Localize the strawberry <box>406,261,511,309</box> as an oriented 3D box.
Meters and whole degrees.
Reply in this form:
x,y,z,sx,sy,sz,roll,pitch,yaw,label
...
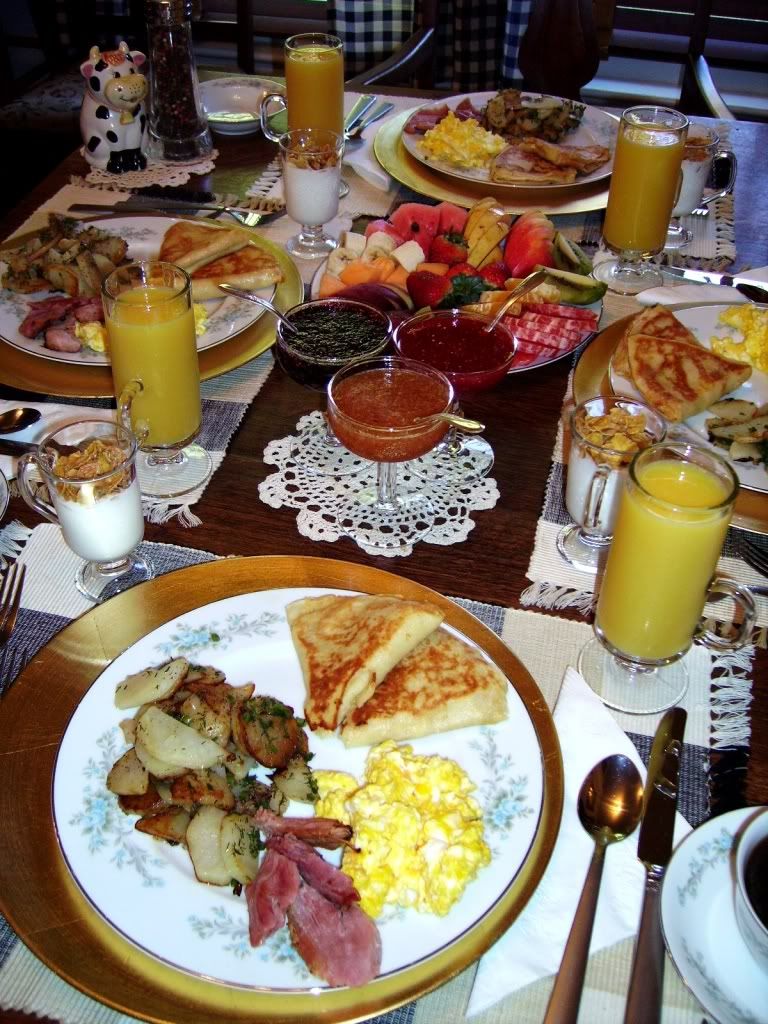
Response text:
x,y,z,sx,sy,sz,roll,pitch,yaw,label
0.150,-0.482,1.793,0.230,0.095,0.116,-3,37,-4,strawberry

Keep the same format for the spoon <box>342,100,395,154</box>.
x,y,z,sx,sy,sz,roll,pitch,yaw,label
-0.058,-1.285,2.668,0.106,0.049,0.328,23,47,8,spoon

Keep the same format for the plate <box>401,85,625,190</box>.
x,y,z,sx,sy,sz,roll,pitch,yaw,label
0.353,-1.104,2.346,0.547,0.072,0.513,17,48,20,plate

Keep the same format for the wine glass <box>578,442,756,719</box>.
x,y,z,sx,sy,sz,roll,pitch,yaw,label
0.395,0.077,1.062,0.213,0.311,0.316,12,41,15,wine glass

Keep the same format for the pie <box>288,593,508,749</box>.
x,y,z,sx,sy,sz,roll,pitch,yaw,label
0.015,0.194,0.990,0.198,0.056,0.186,-21,52,-25,pie

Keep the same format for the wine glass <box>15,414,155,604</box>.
x,y,z,sx,sy,sz,roll,pitch,yaw,label
-0.432,0.011,1.177,0.194,0.214,0.126,-9,36,-19,wine glass

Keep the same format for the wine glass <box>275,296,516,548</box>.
x,y,z,sx,sy,sz,roll,pitch,yaw,label
-0.008,-0.125,1.367,0.379,0.211,0.347,1,46,-1,wine glass

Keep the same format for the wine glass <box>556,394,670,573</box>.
x,y,z,sx,sy,sz,roll,pitch,yaw,label
0.335,-0.017,1.268,0.136,0.204,0.201,18,35,23,wine glass

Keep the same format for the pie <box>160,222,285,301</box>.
x,y,z,sx,sy,sz,roll,pitch,yaw,label
-0.371,-0.577,1.885,0.259,0.068,0.242,11,34,11,pie

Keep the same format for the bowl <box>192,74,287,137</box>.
x,y,z,sx,sy,sz,roll,pitch,yaw,label
-0.518,-1.387,2.754,0.307,0.075,0.284,3,49,-3,bowl
